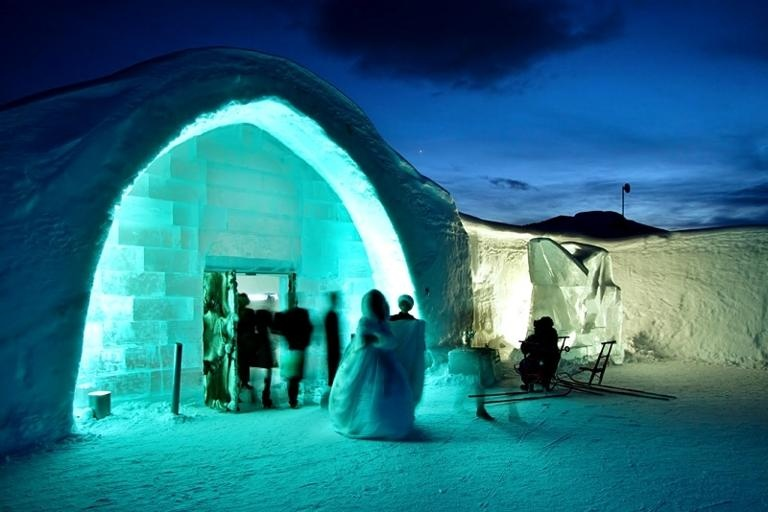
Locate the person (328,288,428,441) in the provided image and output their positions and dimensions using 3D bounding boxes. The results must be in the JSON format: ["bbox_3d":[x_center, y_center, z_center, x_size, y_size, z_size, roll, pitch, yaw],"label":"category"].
[{"bbox_3d":[-0.165,1.408,7.595,1.091,1.871,0.630,0,5,-5],"label":"person"}]

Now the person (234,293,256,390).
[{"bbox_3d":[-2.123,1.320,8.876,0.269,1.538,0.469,-1,6,-13],"label":"person"}]

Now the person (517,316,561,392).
[{"bbox_3d":[2.630,1.659,9.924,0.674,1.249,0.470,1,6,10],"label":"person"}]

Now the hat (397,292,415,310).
[{"bbox_3d":[0.320,0.707,8.883,0.253,0.198,0.269,-35,-25,21],"label":"hat"}]

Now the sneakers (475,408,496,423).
[{"bbox_3d":[1.457,2.253,8.308,0.244,0.146,0.336,-1,5,-12],"label":"sneakers"}]

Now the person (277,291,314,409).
[{"bbox_3d":[-1.485,1.589,9.169,0.531,1.527,0.639,1,5,9],"label":"person"}]
